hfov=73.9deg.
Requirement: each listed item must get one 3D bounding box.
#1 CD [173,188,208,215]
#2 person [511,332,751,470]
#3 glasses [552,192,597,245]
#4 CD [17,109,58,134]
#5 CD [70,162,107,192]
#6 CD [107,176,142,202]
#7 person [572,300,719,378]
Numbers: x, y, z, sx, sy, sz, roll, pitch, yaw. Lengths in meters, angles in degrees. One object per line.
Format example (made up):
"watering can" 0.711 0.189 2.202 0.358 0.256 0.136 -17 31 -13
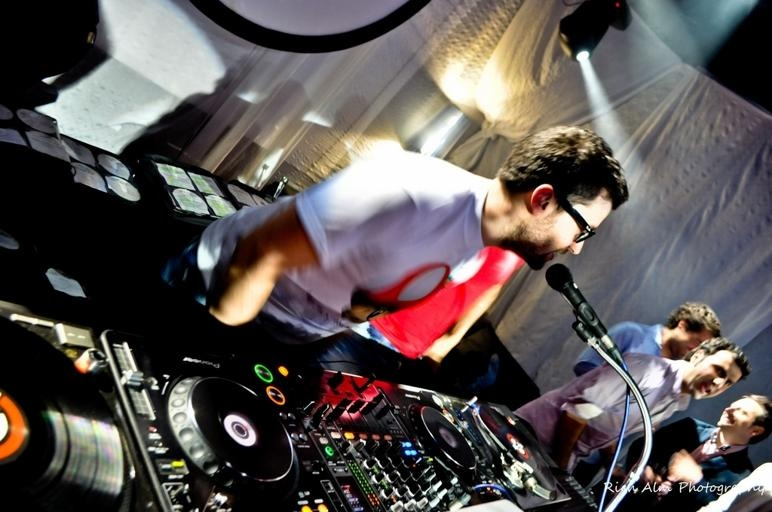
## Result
"CD" -0.743 -0.191 2.005 0.113 0.029 0.121 16 38 -42
"person" 1.516 0.873 3.029 0.458 1.278 0.397 67 2 -61
"glasses" 0.749 -0.156 2.062 0.180 0.055 0.174 64 0 7
"CD" -1.111 -0.435 1.682 0.115 0.020 0.083 40 37 -4
"CD" -0.988 -0.264 1.753 0.107 0.014 0.164 30 12 -44
"CD" -0.912 -0.235 1.832 0.111 0.015 0.093 41 30 -4
"person" 1.640 0.517 3.144 0.465 0.847 0.320 55 25 -60
